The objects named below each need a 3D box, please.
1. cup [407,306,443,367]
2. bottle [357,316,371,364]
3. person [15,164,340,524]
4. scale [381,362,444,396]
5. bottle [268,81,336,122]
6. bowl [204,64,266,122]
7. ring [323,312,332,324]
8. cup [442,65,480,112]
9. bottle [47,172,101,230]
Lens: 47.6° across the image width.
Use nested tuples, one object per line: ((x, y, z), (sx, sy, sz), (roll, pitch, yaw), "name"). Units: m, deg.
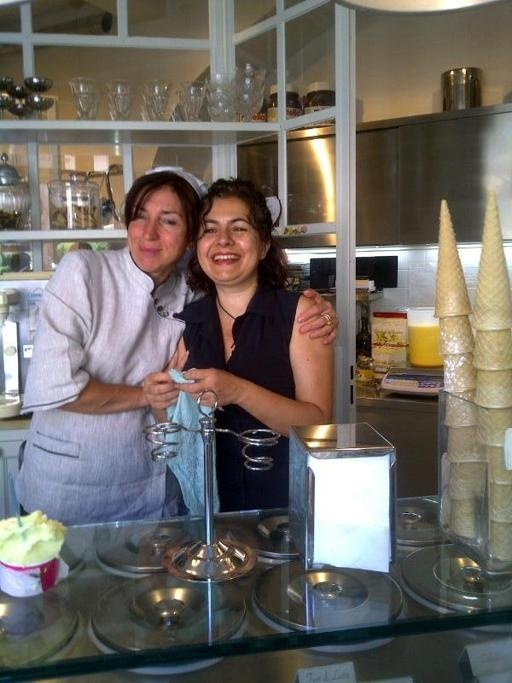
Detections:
((0.786, -0.008, 2.721), (0.163, 0.284, 0.338), (2, 8, 15), "cup")
((0.575, -0.008, 3.122), (0.075, 0.214, 0.202), (1, 8, 10), "bottle")
((-0.380, 0.033, 1.536), (0.511, 0.958, 0.367), (-4, 8, -22), "person")
((0.728, 0.195, 2.727), (0.277, 0.135, 0.187), (2, 8, 17), "scale")
((0.173, -0.898, 2.215), (0.119, 0.092, 0.265), (-12, 15, -40), "bottle")
((-0.075, -0.937, 2.322), (0.250, 0.186, 0.215), (-1, 0, -38), "bowl")
((0.184, -0.059, 1.501), (0.009, 0.024, 0.025), (-32, 1, 23), "ring")
((1.086, -1.311, 3.091), (0.209, 0.215, 0.195), (-3, 8, 0), "cup")
((-0.736, -0.566, 2.362), (0.217, 0.229, 0.213), (-6, 13, -30), "bottle")
